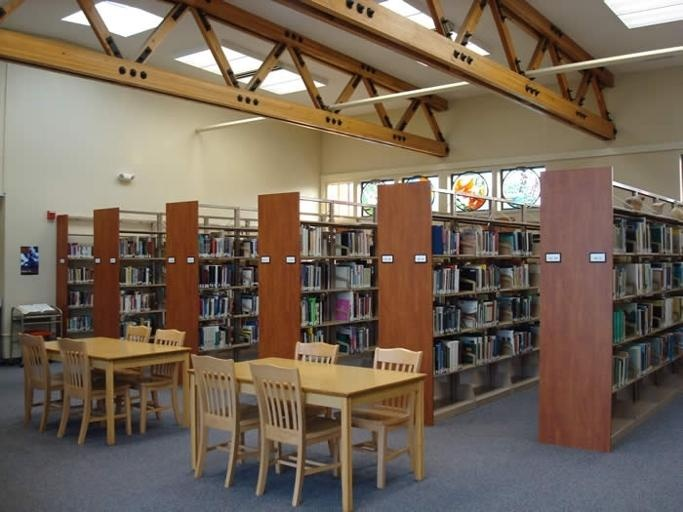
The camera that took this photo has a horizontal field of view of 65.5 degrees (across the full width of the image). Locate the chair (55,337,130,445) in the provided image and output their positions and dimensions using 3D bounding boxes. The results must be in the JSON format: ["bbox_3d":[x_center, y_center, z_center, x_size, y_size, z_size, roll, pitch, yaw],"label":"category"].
[{"bbox_3d":[-2.868,1.476,6.139,0.740,1.142,1.042,-1,1,-29],"label":"chair"}]

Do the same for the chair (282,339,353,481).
[{"bbox_3d":[-0.115,1.317,5.743,0.728,1.328,0.830,0,0,37],"label":"chair"}]

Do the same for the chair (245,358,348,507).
[{"bbox_3d":[-0.389,1.467,4.722,0.774,1.150,0.919,0,1,-2],"label":"chair"}]

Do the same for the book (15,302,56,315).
[{"bbox_3d":[-5.684,0.994,9.859,0.574,0.176,0.569,1,2,43],"label":"book"}]

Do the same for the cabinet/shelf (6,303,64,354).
[{"bbox_3d":[-5.155,1.191,8.835,0.866,1.175,0.631,2,-4,-43],"label":"cabinet/shelf"}]
